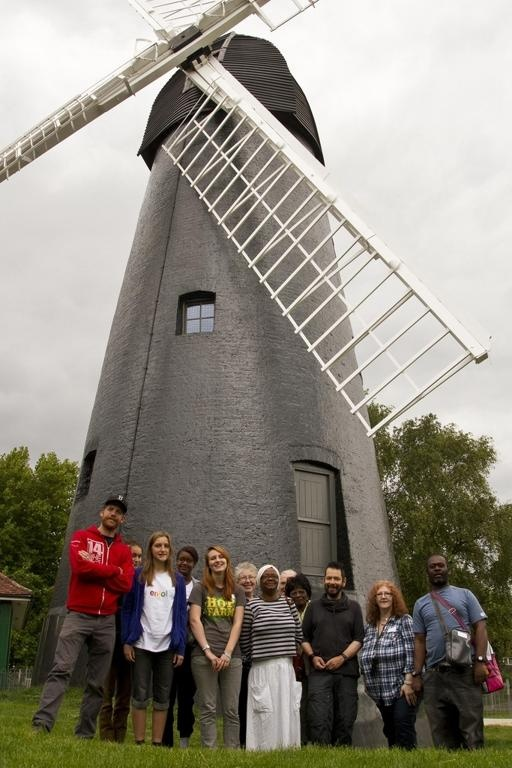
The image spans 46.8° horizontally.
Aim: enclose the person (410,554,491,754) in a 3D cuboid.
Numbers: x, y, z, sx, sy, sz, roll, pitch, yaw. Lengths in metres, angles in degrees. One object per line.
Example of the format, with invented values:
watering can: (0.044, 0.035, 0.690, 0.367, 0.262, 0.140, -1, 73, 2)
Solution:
person: (1.360, 1.854, 4.185, 0.467, 1.286, 0.683, 10, -25, -19)
